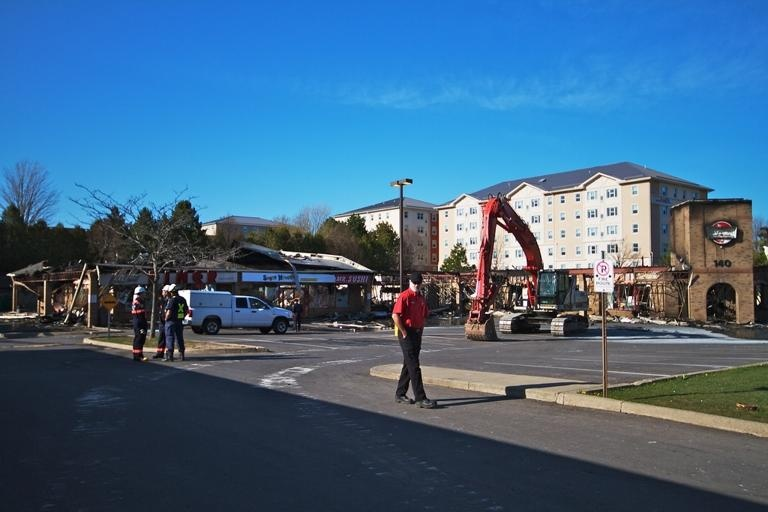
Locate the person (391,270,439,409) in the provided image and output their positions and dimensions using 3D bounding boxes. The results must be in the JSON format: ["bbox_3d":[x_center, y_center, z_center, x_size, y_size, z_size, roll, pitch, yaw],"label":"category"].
[{"bbox_3d":[0.607,1.859,16.539,0.971,2.949,1.389,3,-4,-13],"label":"person"}]

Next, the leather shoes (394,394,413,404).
[{"bbox_3d":[0.448,3.245,16.564,0.325,0.152,0.161,-4,-5,29],"label":"leather shoes"}]

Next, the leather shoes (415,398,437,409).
[{"bbox_3d":[0.910,3.259,16.202,0.414,0.204,0.188,-4,-4,10],"label":"leather shoes"}]

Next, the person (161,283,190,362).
[{"bbox_3d":[-6.779,2.105,23.285,0.686,2.382,0.926,-3,-5,26],"label":"person"}]

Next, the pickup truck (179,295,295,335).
[{"bbox_3d":[-7.348,2.843,37.033,5.433,2.116,2.142,2,-2,-28],"label":"pickup truck"}]
